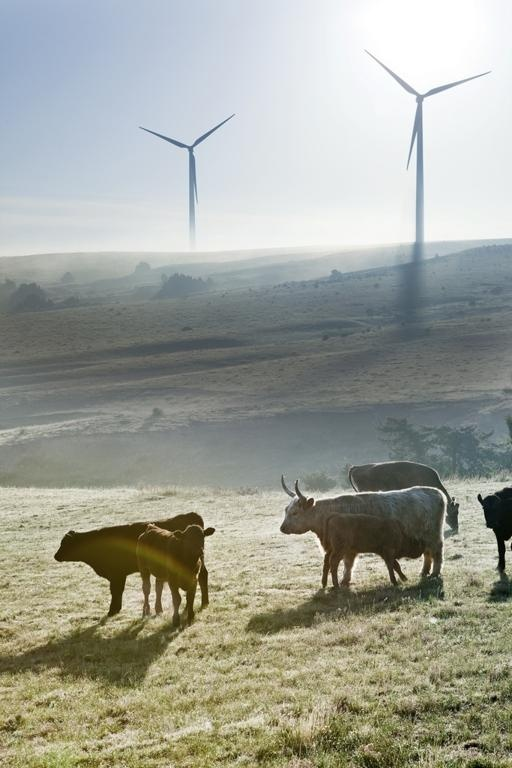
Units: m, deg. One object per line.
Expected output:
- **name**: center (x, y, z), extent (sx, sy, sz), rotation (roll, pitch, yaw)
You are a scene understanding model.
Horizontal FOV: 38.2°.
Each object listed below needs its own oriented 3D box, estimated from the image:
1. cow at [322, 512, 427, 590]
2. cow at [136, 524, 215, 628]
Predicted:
- **cow**: center (2.253, 3.062, 13.504), extent (2.109, 1.404, 0.674), rotation (-2, -8, 3)
- **cow**: center (-1.449, 3.371, 12.975), extent (0.835, 1.921, 1.633), rotation (-3, 15, -33)
